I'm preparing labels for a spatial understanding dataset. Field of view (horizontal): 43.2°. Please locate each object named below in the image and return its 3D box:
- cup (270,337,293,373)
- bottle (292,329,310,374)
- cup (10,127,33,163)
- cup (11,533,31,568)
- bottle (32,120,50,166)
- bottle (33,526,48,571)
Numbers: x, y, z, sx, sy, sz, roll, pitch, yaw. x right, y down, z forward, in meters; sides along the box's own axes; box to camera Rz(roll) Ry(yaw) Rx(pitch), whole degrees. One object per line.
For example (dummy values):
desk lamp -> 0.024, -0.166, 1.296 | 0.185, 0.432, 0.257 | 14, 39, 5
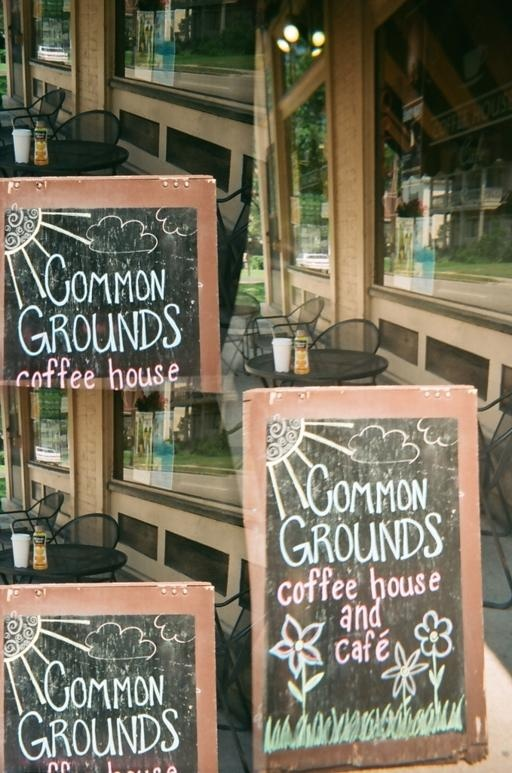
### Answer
cup -> 0.058, -0.067, 1.385 | 0.053, 0.083, 0.059 | 1, 3, 5
bottle -> 0.102, -0.074, 1.400 | 0.035, 0.094, 0.065 | 4, 6, 25
cup -> -0.472, -0.488, 1.312 | 0.035, 0.084, 0.064 | 0, 6, -21
cup -> -0.494, 0.346, 1.363 | 0.033, 0.066, 0.035 | 2, 5, 0
bottle -> -0.436, -0.495, 1.311 | 0.029, 0.102, 0.064 | 0, 6, -21
bottle -> -0.457, 0.342, 1.372 | 0.030, 0.077, 0.073 | 0, 6, -20
